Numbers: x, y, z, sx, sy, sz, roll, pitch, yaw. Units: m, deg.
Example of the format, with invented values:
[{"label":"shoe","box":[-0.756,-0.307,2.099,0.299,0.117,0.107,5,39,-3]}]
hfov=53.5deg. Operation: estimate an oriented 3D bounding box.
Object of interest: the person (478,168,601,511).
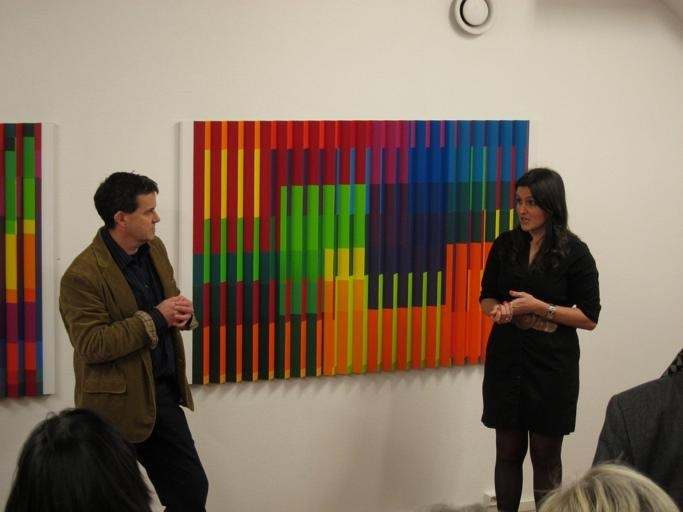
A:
[{"label":"person","box":[1.029,0.468,3.570,0.601,1.844,0.333,0,5,15]}]

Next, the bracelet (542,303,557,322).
[{"label":"bracelet","box":[1.051,0.288,3.428,0.048,0.091,0.073,9,2,18]}]
